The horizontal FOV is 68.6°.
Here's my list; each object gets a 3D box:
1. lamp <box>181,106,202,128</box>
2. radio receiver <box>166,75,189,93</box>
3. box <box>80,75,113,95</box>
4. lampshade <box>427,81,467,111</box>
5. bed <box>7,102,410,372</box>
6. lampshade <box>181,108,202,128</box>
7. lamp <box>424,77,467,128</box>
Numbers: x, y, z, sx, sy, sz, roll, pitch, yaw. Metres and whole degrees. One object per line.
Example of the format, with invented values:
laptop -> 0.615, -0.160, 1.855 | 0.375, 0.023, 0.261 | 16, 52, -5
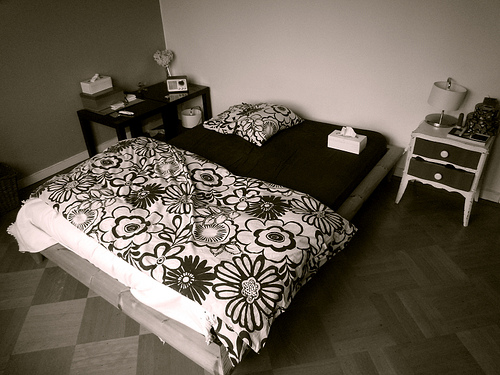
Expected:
lamp -> -0.658, -0.792, 4.158 | 0.180, 0.194, 0.250 | -15, 39, -19
radio receiver -> -0.787, -1.156, 4.035 | 0.260, 0.207, 0.162 | -1, 33, 2
box -> -1.496, -0.997, 3.607 | 0.167, 0.093, 0.235 | 21, 39, 28
lampshade -> 1.528, -0.666, 2.872 | 0.260, 0.179, 0.247 | -6, 36, -38
bed -> -0.046, -0.021, 2.603 | 1.907, 0.627, 2.233 | 26, 51, 27
lampshade -> -0.645, -0.772, 4.202 | 0.214, 0.166, 0.221 | 30, 48, 24
lamp -> 1.564, -0.678, 2.897 | 0.239, 0.408, 0.230 | 14, 40, 16
